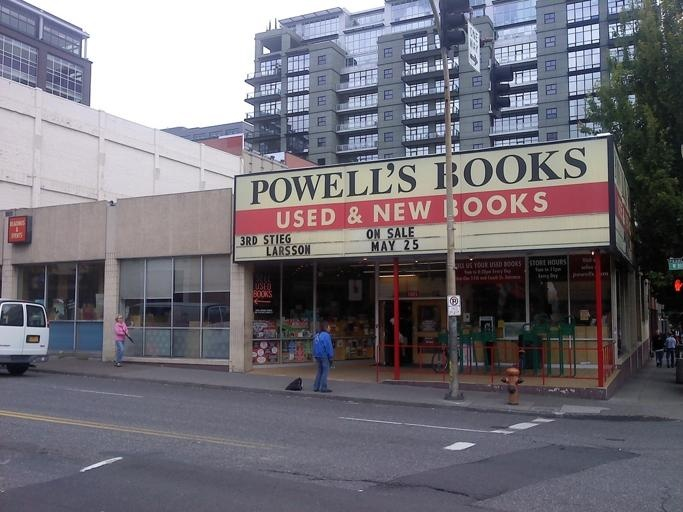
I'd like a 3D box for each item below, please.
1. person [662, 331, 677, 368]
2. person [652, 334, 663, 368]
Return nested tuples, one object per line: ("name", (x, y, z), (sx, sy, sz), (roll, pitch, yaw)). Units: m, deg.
("person", (15.911, 4.529, 37.034), (0.503, 1.634, 2.908), (-4, -7, 23))
("person", (15.648, 4.614, 37.666), (0.443, 1.607, 2.416), (-4, -7, 23))
